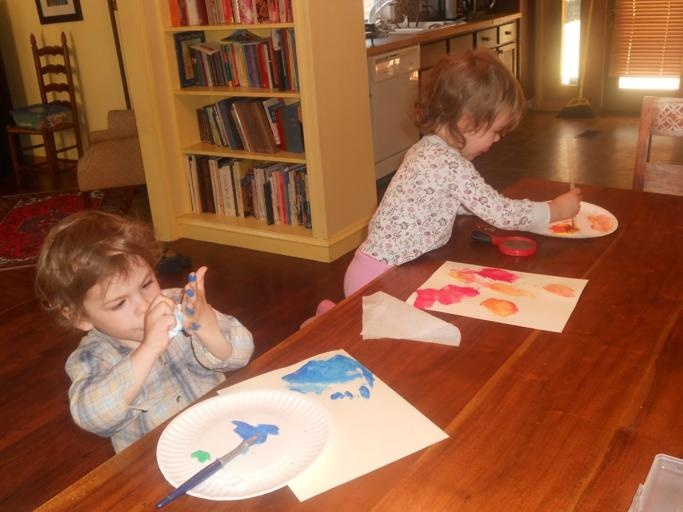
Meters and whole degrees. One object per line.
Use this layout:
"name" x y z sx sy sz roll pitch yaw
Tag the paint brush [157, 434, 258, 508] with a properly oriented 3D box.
"paint brush" -0.202 0.328 0.773 0.153 0.018 0.015 -27 -8 -42
